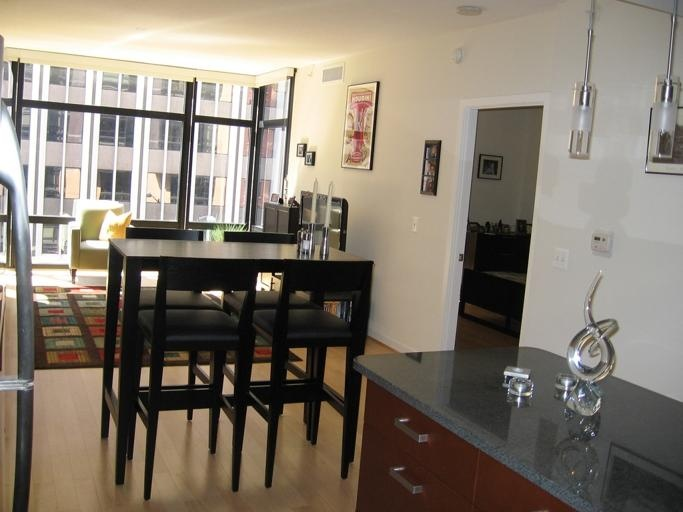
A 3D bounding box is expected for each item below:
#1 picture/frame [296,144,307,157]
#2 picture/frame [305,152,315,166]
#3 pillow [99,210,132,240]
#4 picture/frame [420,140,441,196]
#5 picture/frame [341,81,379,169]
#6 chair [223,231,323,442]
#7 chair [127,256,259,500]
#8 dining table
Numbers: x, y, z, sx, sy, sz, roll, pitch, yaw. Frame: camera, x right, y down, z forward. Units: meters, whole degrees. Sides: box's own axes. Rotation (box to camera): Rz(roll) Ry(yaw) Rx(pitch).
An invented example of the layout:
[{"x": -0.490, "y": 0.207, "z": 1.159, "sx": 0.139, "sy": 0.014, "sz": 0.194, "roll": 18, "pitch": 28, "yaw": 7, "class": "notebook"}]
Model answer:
[{"x": -0.526, "y": -1.391, "z": 7.100, "sx": 0.057, "sy": 0.197, "sz": 0.199, "roll": 1, "pitch": 2, "yaw": -24, "class": "picture/frame"}, {"x": -0.404, "y": -1.246, "z": 6.907, "sx": 0.058, "sy": 0.180, "sz": 0.182, "roll": 1, "pitch": 2, "yaw": -22, "class": "picture/frame"}, {"x": -2.776, "y": -0.380, "z": 6.589, "sx": 0.416, "sy": 0.463, "sz": 0.167, "roll": 2, "pitch": -11, "yaw": 7, "class": "pillow"}, {"x": 0.827, "y": -0.821, "z": 5.018, "sx": 0.056, "sy": 0.504, "sz": 0.223, "roll": -1, "pitch": 10, "yaw": -31, "class": "picture/frame"}, {"x": 0.213, "y": -1.435, "z": 5.947, "sx": 0.082, "sy": 1.226, "sz": 0.840, "roll": -1, "pitch": 10, "yaw": -24, "class": "picture/frame"}, {"x": -0.487, "y": 0.250, "z": 3.646, "sx": 0.630, "sy": 0.636, "sz": 0.481, "roll": -2, "pitch": 21, "yaw": -15, "class": "chair"}, {"x": -0.837, "y": 0.585, "z": 3.000, "sx": 0.638, "sy": 1.251, "sz": 0.611, "roll": 1, "pitch": 9, "yaw": -22, "class": "chair"}, {"x": -0.555, "y": 0.558, "z": 3.030, "sx": 1.214, "sy": 1.092, "sz": 0.747, "roll": -3, "pitch": -15, "yaw": 37, "class": "dining table"}]
